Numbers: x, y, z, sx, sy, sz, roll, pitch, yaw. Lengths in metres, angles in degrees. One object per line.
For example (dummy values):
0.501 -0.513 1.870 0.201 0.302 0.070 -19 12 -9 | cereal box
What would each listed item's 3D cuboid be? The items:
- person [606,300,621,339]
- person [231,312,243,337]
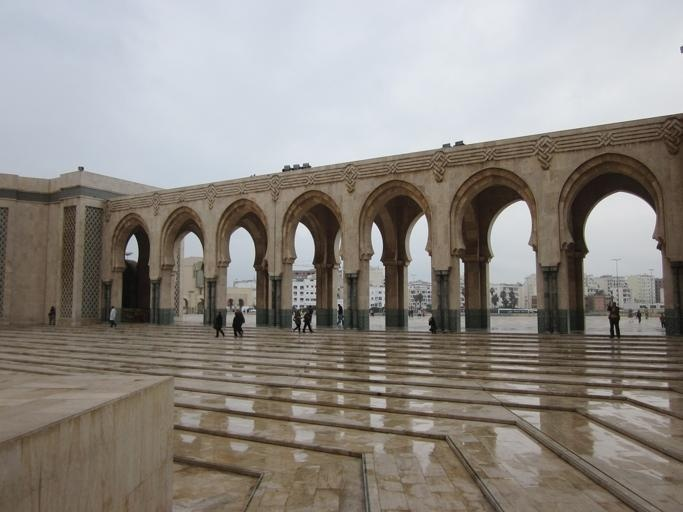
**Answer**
7.397 1.666 16.213 0.240 0.969 1.209 -2 -4 23 | person
-3.093 1.945 17.820 0.268 0.783 1.495 0 -4 -9 | person
